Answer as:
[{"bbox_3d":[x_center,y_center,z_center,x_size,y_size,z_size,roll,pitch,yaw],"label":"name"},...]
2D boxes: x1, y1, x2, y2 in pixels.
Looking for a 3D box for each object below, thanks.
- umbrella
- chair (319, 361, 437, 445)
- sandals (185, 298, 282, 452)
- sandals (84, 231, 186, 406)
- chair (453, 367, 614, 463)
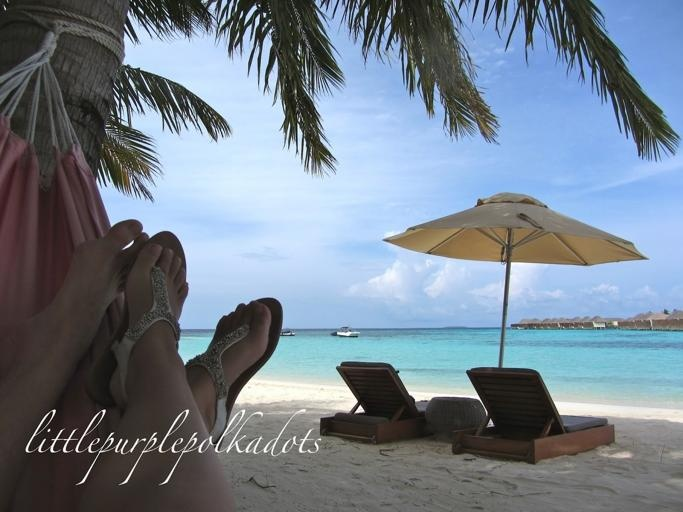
[{"bbox_3d":[2.247,0.242,6.910,2.462,1.805,2.419,4,14,11],"label":"umbrella"},{"bbox_3d":[0.441,1.708,5.980,1.010,0.898,0.873,-7,-12,42],"label":"chair"},{"bbox_3d":[-0.453,0.414,2.062,0.233,0.646,0.155,11,-32,26],"label":"sandals"},{"bbox_3d":[-0.725,0.193,1.793,0.245,0.661,0.180,24,-26,-34],"label":"sandals"},{"bbox_3d":[1.929,1.601,5.277,0.916,0.883,1.503,-7,-13,44],"label":"chair"}]
